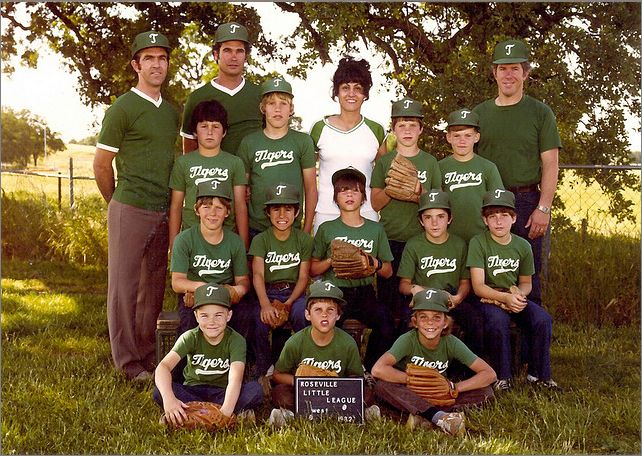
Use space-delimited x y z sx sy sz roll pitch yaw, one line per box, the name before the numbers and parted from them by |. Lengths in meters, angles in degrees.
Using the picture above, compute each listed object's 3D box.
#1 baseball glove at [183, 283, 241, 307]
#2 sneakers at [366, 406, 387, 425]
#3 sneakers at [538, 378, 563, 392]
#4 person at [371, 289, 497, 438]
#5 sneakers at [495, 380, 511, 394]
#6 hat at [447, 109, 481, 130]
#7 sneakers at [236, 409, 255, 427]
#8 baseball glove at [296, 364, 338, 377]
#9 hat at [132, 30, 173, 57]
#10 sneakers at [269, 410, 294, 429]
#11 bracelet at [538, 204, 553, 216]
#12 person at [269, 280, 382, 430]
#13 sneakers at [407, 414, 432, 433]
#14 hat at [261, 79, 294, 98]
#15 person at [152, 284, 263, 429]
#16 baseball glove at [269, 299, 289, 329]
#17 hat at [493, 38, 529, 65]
baseball glove | -1.091 0.651 6.074 0.401 0.151 0.280 -3 1 -29
sneakers | 0.481 1.736 5.685 0.165 0.086 0.258 2 12 4
sneakers | 2.369 1.629 6.372 0.285 0.110 0.096 12 5 6
person | 0.964 1.280 6.059 1.068 0.939 1.286 -1 2 -15
sneakers | 1.853 1.617 6.266 0.085 0.099 0.243 -1 -1 -9
hat | 1.600 -1.211 6.796 0.369 0.202 0.223 1 12 -3
sneakers | -0.697 1.743 5.609 0.122 0.128 0.143 4 -18 -1
baseball glove | -0.058 1.355 5.755 0.267 0.067 0.159 7 10 2
hat | -1.808 -1.958 6.492 0.383 0.278 0.210 -2 12 -16
sneakers | -0.369 1.746 5.608 0.228 0.140 0.177 1 12 -1
bracelet | 2.471 -0.198 6.747 0.127 0.079 0.122 23 -10 -41
person | 0.014 1.163 5.858 1.024 1.189 0.733 0 12 -6
sneakers | 0.876 1.801 5.542 0.212 0.111 0.228 5 12 15
hat | -0.451 -1.535 6.680 0.277 0.205 0.501 -7 14 -37
person | -1.106 1.150 5.638 0.830 1.118 0.609 -2 12 -16
baseball glove | -0.426 0.876 6.215 0.110 0.245 0.184 2 -12 -33
hat | 2.119 -1.950 6.812 0.360 0.263 0.214 4 12 10
